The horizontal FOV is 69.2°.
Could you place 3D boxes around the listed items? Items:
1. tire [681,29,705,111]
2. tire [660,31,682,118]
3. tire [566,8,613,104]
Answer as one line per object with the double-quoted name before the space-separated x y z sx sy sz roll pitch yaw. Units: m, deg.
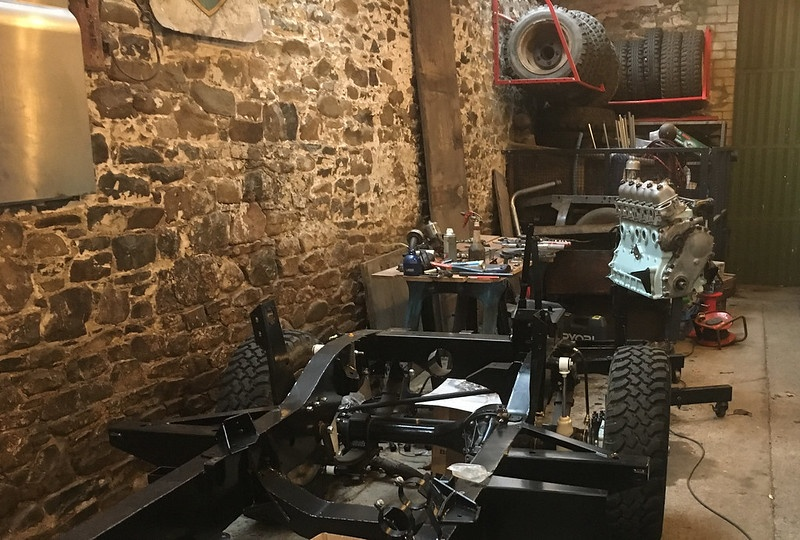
"tire" 4.071 -2.834 8.066 0.292 0.938 0.357 2 12 25
"tire" 3.815 -2.849 8.163 0.272 0.945 0.313 2 11 23
"tire" 2.527 -2.741 7.551 0.434 1.113 1.034 4 12 32
